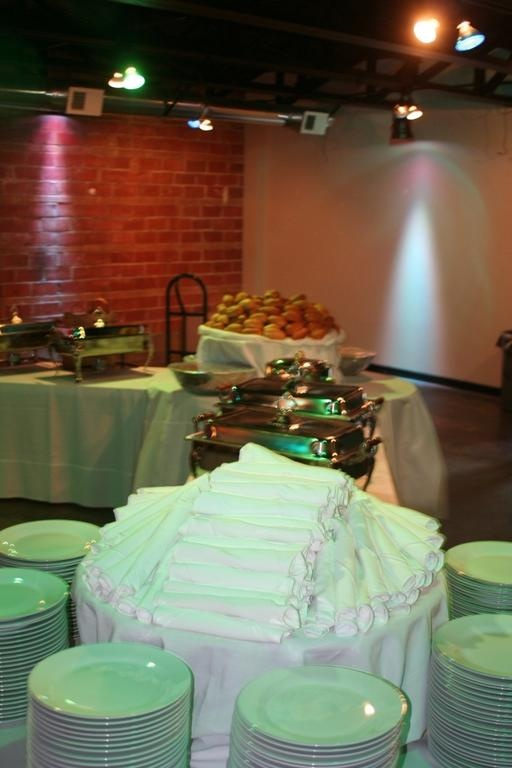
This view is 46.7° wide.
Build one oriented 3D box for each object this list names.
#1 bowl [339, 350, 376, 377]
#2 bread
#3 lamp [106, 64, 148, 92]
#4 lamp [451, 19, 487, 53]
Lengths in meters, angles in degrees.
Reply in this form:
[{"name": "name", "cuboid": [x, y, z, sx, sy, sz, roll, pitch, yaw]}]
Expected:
[{"name": "bowl", "cuboid": [0.532, -0.106, 3.133, 0.171, 0.137, 0.269, 4, 12, 10]}, {"name": "bread", "cuboid": [0.082, -0.353, 2.984, 0.664, 0.210, 0.491, 4, 12, 8]}, {"name": "lamp", "cuboid": [-0.864, -2.039, 3.928, 0.206, 0.165, 0.276, -1, 12, -12]}, {"name": "lamp", "cuboid": [1.290, -2.127, 3.582, 0.138, 0.200, 0.259, 5, 13, 12]}]
